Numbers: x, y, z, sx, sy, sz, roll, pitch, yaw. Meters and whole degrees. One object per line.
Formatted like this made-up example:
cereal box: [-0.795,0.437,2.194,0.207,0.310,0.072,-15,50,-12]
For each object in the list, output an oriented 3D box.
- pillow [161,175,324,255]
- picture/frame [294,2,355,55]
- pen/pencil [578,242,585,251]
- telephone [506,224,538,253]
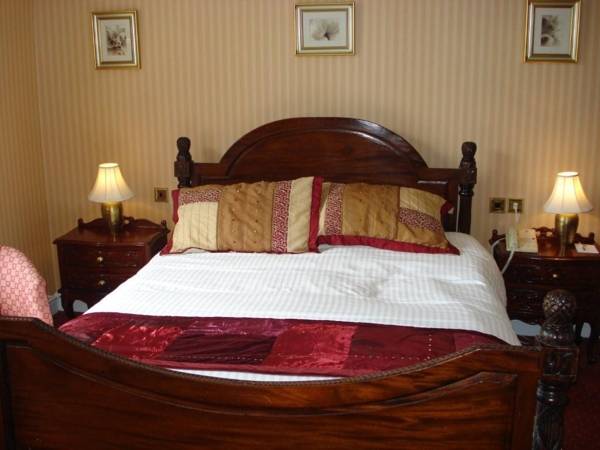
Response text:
pillow: [-0.323,-0.007,3.339,1.204,0.518,0.305,-7,3,29]
picture/frame: [0.183,-1.404,3.552,0.578,0.308,0.035,0,13,8]
pen/pencil: [1.918,0.153,3.422,0.023,0.014,0.135,7,11,22]
telephone: [1.521,0.096,3.449,0.205,0.058,0.217,4,30,16]
